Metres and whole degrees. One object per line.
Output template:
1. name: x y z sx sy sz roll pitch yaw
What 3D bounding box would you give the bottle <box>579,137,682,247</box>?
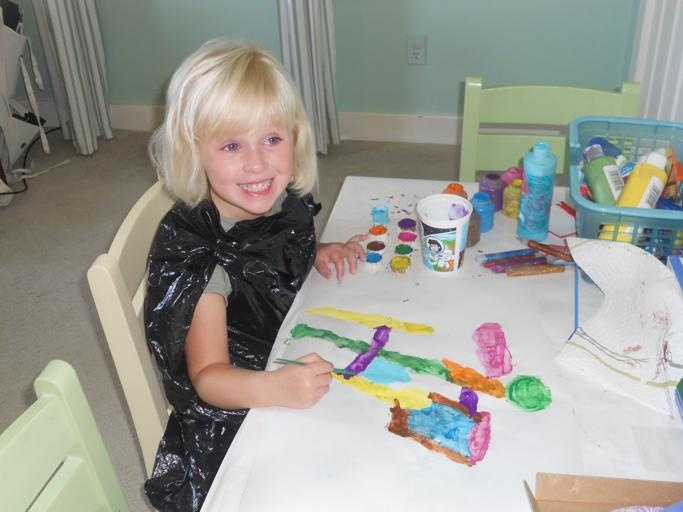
1. bottle: 0.635 -0.179 1.130 0.205 0.092 0.258 5 53 18

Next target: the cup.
1. cup: 0.230 -0.054 1.208 0.156 0.173 0.159 -5 42 4
